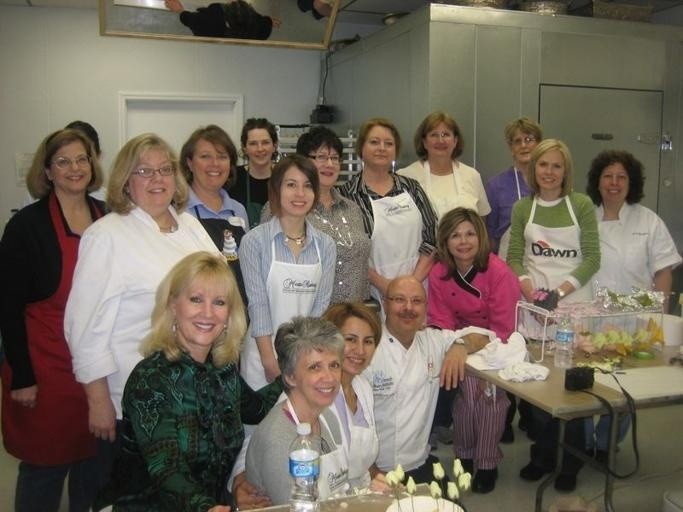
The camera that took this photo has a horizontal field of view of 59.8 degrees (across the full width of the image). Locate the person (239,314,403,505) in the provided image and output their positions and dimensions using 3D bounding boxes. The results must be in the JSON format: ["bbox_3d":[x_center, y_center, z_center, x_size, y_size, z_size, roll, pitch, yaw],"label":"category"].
[{"bbox_3d":[-0.092,0.574,2.595,0.692,0.785,0.675,2,-1,-39],"label":"person"}]

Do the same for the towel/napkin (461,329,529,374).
[{"bbox_3d":[0.785,0.479,2.999,0.189,0.077,0.190,-13,5,-22],"label":"towel/napkin"}]

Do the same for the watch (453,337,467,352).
[{"bbox_3d":[0.634,0.463,3.125,0.057,0.054,0.039,0,34,8],"label":"watch"}]

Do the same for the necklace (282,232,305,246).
[{"bbox_3d":[-0.224,-0.078,2.919,0.062,0.062,0.017,-4,-19,-21],"label":"necklace"}]

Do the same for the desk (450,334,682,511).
[{"bbox_3d":[1.166,0.944,3.056,0.860,0.557,0.871,-2,13,-7],"label":"desk"}]

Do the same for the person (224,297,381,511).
[{"bbox_3d":[-0.012,0.607,2.502,0.689,0.805,0.631,8,7,42],"label":"person"}]

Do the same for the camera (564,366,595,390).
[{"bbox_3d":[1.068,0.543,2.687,0.153,0.117,0.090,-3,3,-12],"label":"camera"}]

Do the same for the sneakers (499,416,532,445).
[{"bbox_3d":[1.149,1.158,4.031,0.237,0.233,0.202,-2,-4,0],"label":"sneakers"}]

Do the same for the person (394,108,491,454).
[{"bbox_3d":[0.769,0.061,4.137,0.678,1.996,0.527,-13,27,-15],"label":"person"}]

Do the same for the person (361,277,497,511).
[{"bbox_3d":[0.358,0.726,3.126,0.941,1.206,0.403,-6,23,-6],"label":"person"}]

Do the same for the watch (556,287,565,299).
[{"bbox_3d":[1.229,0.208,3.335,0.016,0.062,0.065,-8,-9,0],"label":"watch"}]
